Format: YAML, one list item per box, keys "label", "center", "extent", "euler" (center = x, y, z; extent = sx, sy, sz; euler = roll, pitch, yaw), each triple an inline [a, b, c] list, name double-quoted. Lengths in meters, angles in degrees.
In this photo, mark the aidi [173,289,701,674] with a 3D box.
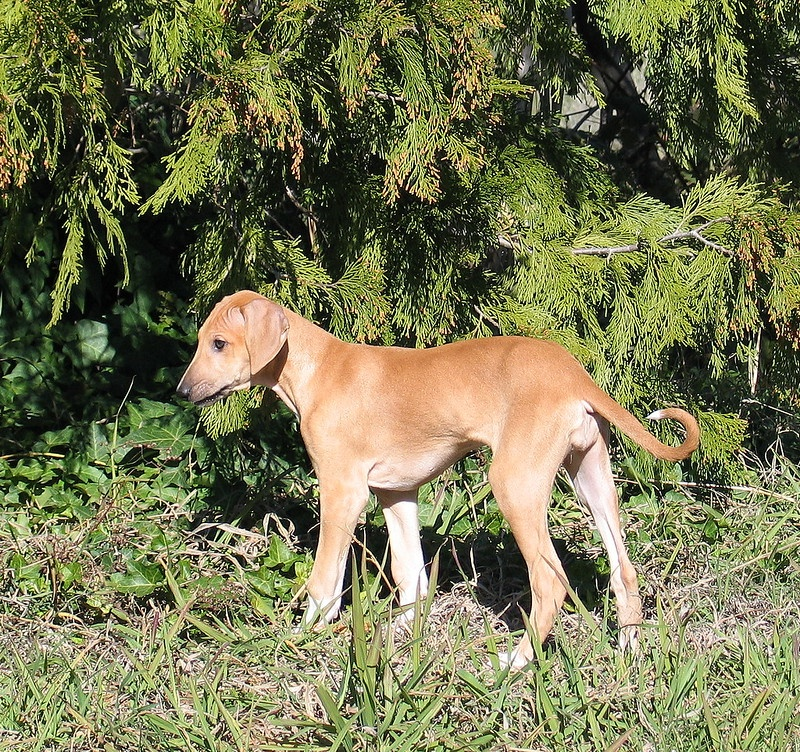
- label: "aidi"
  center: [0.063, 0.396, 4.138]
  extent: [1.862, 1.635, 0.576]
  euler: [-1, 9, 6]
